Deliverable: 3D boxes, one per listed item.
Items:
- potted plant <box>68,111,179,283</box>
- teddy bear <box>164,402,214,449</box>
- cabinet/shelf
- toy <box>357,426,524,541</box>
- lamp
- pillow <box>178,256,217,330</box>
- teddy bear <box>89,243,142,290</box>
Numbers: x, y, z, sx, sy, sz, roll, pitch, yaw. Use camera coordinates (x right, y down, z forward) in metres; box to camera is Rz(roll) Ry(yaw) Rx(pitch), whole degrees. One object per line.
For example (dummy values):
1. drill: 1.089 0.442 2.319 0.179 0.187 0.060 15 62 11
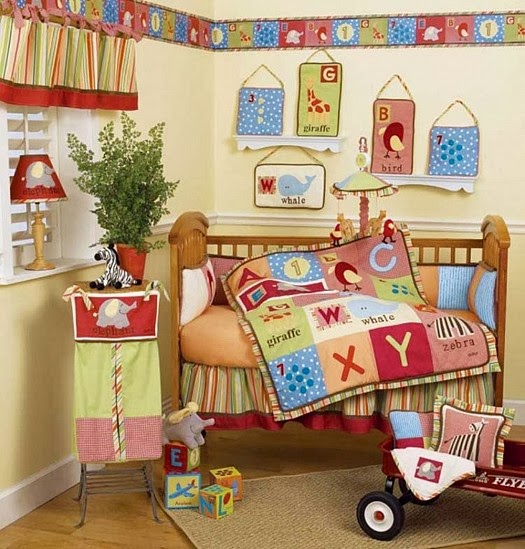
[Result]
1. potted plant: -0.465 -0.255 1.953 0.331 0.513 0.307 12 15 43
2. teddy bear: -0.280 0.558 2.046 0.184 0.083 0.129 5 23 17
3. cabinet/shelf: -0.518 0.430 1.921 0.372 0.758 0.283 0 -3 -15
4. toy: 0.527 0.647 1.693 0.491 0.131 0.307 -3 -1 31
5. lamp: -0.769 -0.215 1.907 0.168 0.404 0.305 -1 4 -16
6. pillow: -0.253 0.035 2.333 0.077 0.204 0.322 5 11 24
7. teddy bear: -0.501 -0.025 1.879 0.175 0.153 0.075 11 -1 -28
